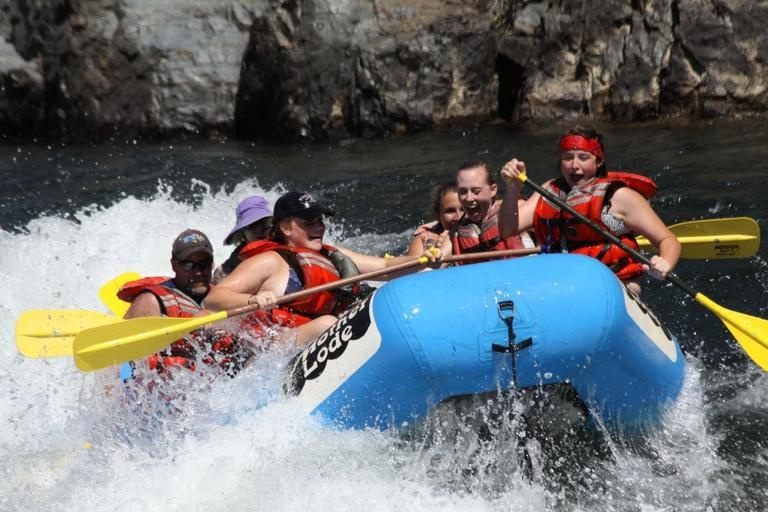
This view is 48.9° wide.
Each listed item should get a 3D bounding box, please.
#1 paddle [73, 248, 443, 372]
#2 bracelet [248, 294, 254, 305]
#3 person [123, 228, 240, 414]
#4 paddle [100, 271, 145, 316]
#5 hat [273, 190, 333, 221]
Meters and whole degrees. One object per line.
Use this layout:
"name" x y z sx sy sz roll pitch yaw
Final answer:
"paddle" -1.118 0.554 8.115 3.606 0.531 0.400 -16 -1 -1
"bracelet" -1.264 0.420 8.063 0.099 0.067 0.123 0 21 -12
"person" -2.001 0.597 8.287 1.127 1.737 0.668 0 -17 -38
"paddle" -2.857 0.398 9.098 0.536 0.391 0.095 -41 6 -39
"hat" -0.820 -0.496 8.495 0.441 0.222 0.320 -1 5 19
